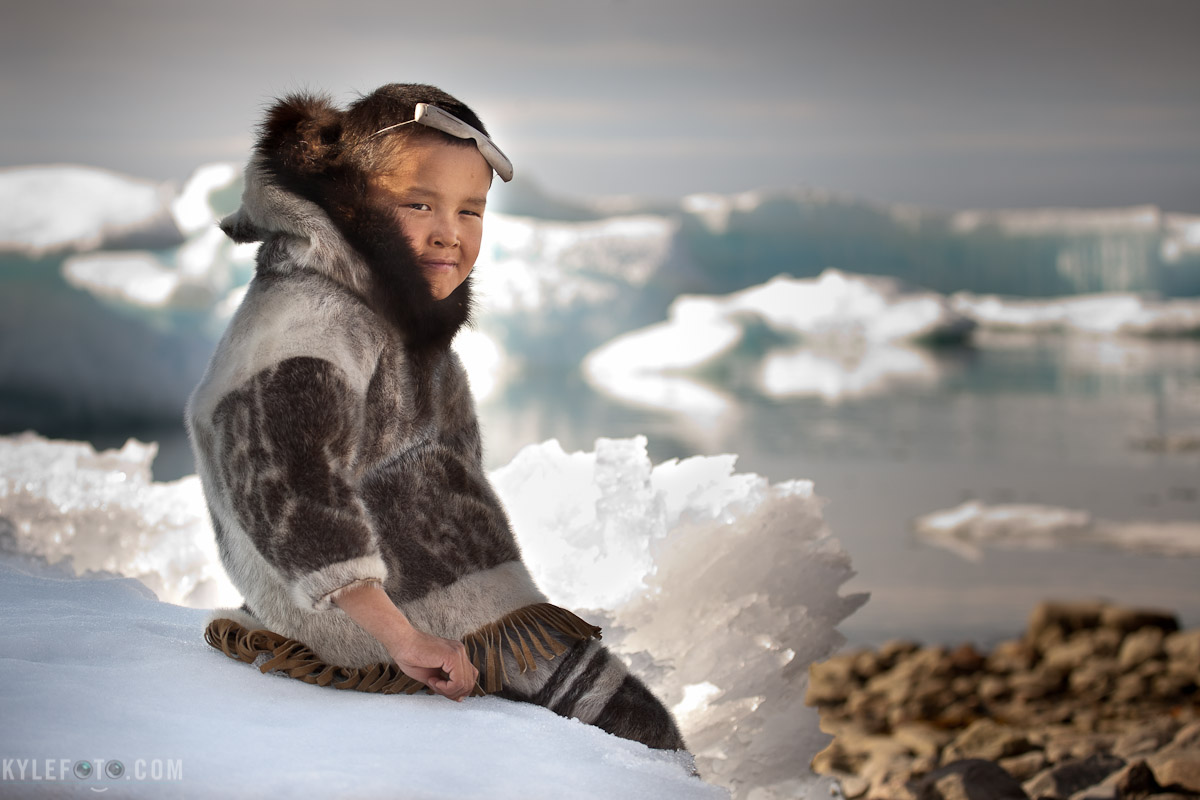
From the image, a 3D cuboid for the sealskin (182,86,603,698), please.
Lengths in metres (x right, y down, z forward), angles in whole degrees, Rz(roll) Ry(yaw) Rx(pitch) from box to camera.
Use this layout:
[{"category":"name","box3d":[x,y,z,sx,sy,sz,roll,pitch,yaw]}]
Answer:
[{"category":"sealskin","box3d":[-0.679,-0.039,6.476,1.488,1.986,1.564,-1,0,-9]}]

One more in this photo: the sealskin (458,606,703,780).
[{"category":"sealskin","box3d":[-0.013,0.664,5.619,0.597,0.237,0.352,24,2,-2]}]
